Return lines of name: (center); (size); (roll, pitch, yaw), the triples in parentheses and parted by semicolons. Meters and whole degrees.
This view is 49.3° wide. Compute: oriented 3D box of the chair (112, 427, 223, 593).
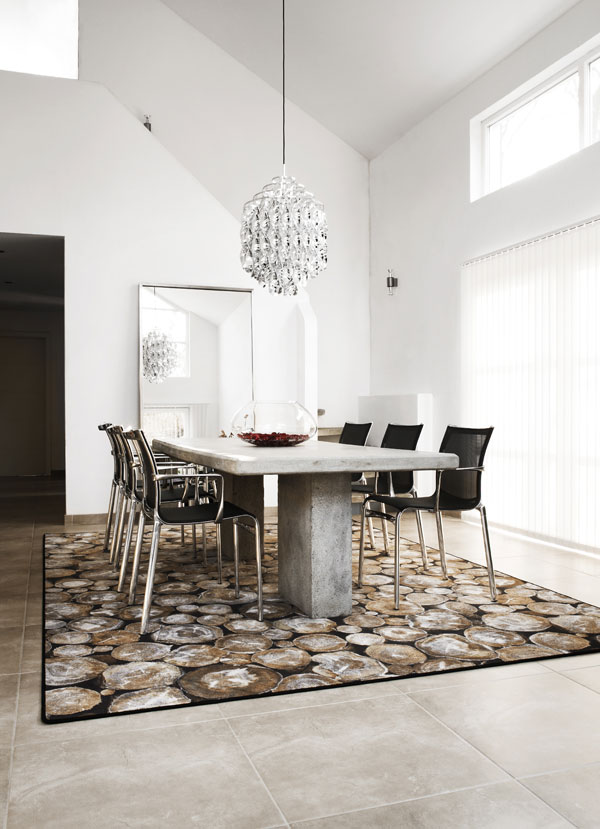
chair: (-0.471, 0.475, 2.888); (0.578, 0.839, 0.627); (-1, 1, -1)

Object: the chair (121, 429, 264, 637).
chair: (-0.567, 0.437, 3.260); (0.752, 1.316, 0.798); (0, 0, -18)

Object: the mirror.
mirror: (-0.958, -0.442, 5.722); (1.222, 1.993, 0.063); (-2, 5, -26)
